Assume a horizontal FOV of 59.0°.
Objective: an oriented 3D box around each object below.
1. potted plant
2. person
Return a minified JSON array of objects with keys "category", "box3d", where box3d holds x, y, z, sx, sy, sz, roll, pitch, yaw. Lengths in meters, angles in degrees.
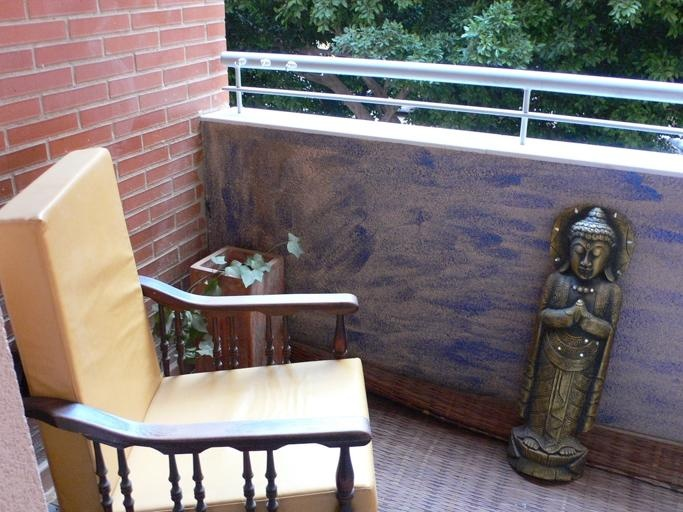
[{"category":"potted plant","box3d":[-0.467,0.261,2.575,0.349,0.469,0.341,-4,9,-18]},{"category":"person","box3d":[0.849,0.270,2.218,0.271,0.902,0.211,11,23,23]}]
